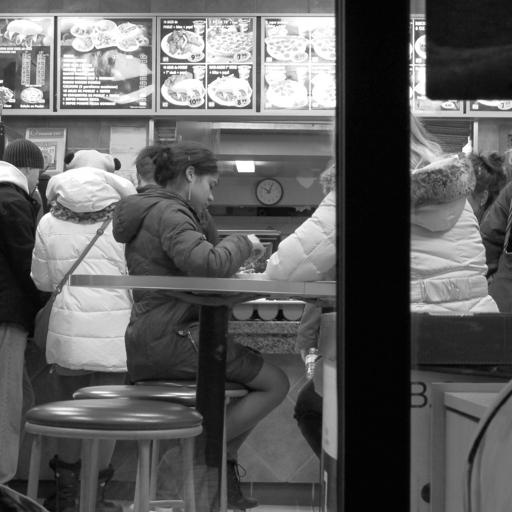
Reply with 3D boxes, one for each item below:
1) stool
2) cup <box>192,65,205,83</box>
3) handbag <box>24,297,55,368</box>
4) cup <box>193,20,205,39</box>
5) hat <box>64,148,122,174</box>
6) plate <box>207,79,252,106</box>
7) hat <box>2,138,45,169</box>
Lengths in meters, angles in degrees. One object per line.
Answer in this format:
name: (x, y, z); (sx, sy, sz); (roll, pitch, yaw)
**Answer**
stool: (-0.254, 0.366, 2.057); (0.340, 0.269, 0.407); (-3, -19, 17)
cup: (-0.297, -0.979, 5.086); (0.078, 0.075, 0.077); (2, 22, -1)
handbag: (-0.723, 0.251, 3.205); (0.096, 0.252, 0.189); (6, -6, -27)
cup: (-0.295, -1.239, 5.166); (0.088, 0.096, 0.076); (5, 28, 7)
hat: (-0.569, -0.348, 3.355); (0.196, 0.104, 0.184); (2, 13, -7)
plate: (-0.132, -0.878, 5.043); (0.234, 0.171, 0.075); (1, 6, -3)
hat: (-0.854, -0.382, 3.506); (0.111, 0.101, 0.122); (-1, 9, -19)
